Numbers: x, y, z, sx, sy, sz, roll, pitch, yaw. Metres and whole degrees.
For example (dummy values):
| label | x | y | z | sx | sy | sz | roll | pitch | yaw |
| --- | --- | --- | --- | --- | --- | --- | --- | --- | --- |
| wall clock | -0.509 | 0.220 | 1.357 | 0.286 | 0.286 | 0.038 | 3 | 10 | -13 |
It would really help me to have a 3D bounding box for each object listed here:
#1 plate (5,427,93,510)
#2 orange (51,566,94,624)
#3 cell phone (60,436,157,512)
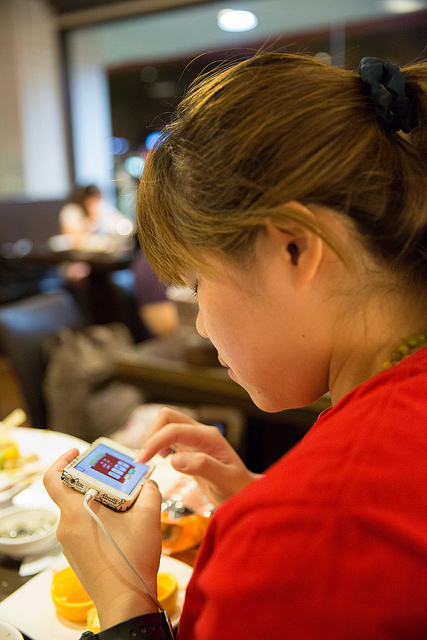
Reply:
| label | x | y | z | sx | sy | sz | roll | pitch | yaw |
| --- | --- | --- | --- | --- | --- | --- | --- | --- | --- |
| plate | -0.337 | 0.314 | 1.185 | 0.172 | 0.033 | 0.177 | 6 | 15 | 16 |
| orange | -0.190 | 0.352 | 0.754 | 0.056 | 0.020 | 0.051 | 9 | 44 | -39 |
| cell phone | -0.141 | 0.210 | 0.799 | 0.102 | 0.021 | 0.164 | 25 | 5 | 6 |
